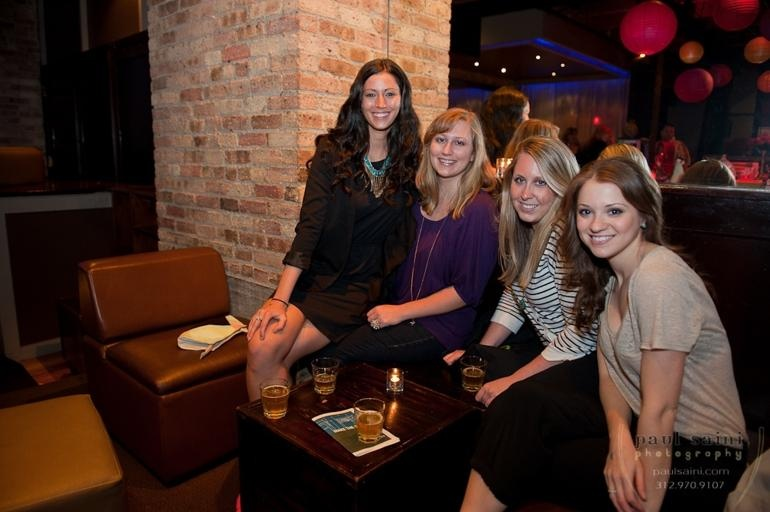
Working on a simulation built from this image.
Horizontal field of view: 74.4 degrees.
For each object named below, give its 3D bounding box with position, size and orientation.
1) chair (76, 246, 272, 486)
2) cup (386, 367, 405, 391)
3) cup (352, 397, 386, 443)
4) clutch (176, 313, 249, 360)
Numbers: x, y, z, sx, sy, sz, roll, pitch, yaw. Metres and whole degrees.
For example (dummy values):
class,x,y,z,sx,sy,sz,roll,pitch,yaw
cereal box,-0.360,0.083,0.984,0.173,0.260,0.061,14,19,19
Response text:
class,x,y,z,sx,sy,sz,roll,pitch,yaw
chair,-1.322,0.648,3.613,1.338,1.446,1.310,17,24,41
cup,0.055,0.633,2.632,0.101,0.117,0.102,0,12,0
cup,-0.051,0.736,2.307,0.155,0.176,0.163,0,3,0
clutch,-1.088,0.473,3.281,0.524,0.146,0.449,3,18,-19
